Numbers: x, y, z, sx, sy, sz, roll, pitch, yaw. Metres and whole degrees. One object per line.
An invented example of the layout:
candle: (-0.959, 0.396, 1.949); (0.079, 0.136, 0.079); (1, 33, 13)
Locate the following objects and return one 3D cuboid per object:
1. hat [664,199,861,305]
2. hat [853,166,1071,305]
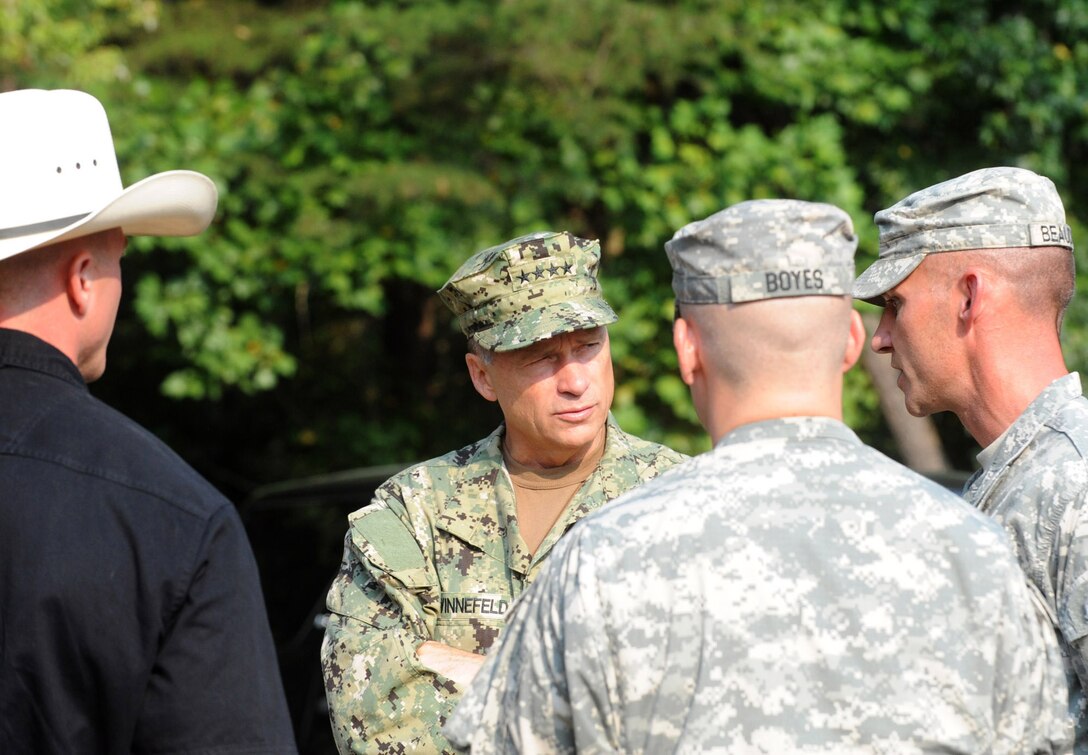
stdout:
hat: (0.817, -0.450, 8.057); (0.531, 0.192, 0.393); (3, 15, 20)
hat: (1.649, -0.600, 8.798); (0.805, 0.533, 0.372); (-7, 84, 18)
